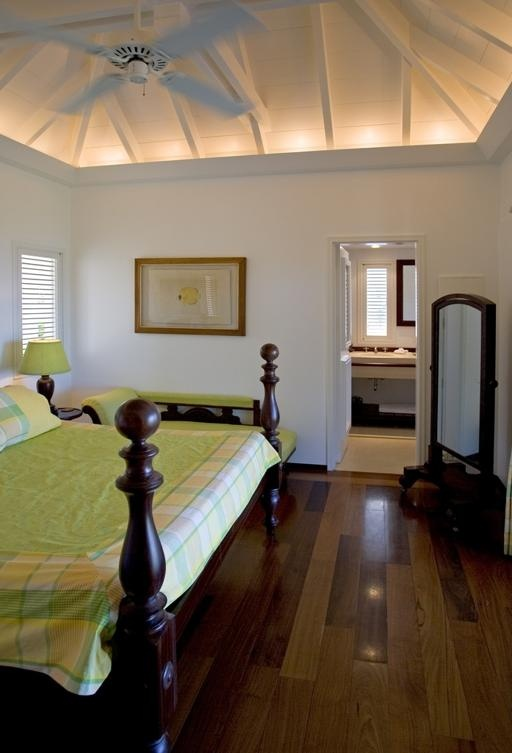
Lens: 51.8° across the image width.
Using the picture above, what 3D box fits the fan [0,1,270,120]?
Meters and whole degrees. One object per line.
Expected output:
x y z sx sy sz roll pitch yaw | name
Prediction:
-0.527 -1.507 2.475 1.068 0.211 1.055 -1 4 -1 | fan

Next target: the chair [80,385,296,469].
-0.469 0.346 4.769 1.545 0.580 0.888 2 8 14 | chair

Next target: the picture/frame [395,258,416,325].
2.037 -1.141 7.230 0.220 0.898 0.105 1 3 38 | picture/frame
